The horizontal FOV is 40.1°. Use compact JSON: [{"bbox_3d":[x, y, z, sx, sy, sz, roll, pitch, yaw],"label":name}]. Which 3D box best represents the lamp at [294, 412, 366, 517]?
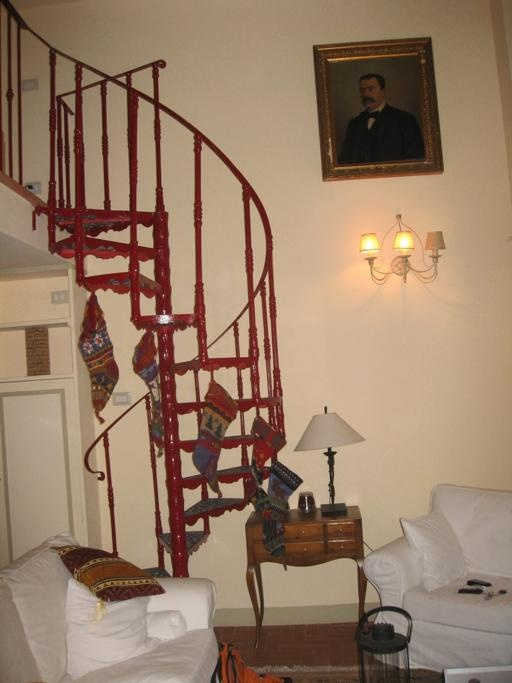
[{"bbox_3d":[0.444,0.706,4.222,0.388,0.611,0.463,-3,0,6],"label":"lamp"}]

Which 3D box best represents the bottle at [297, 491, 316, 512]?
[{"bbox_3d":[0.290,0.949,4.157,0.103,0.090,0.102,1,-2,20],"label":"bottle"}]

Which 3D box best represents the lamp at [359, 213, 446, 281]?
[{"bbox_3d":[0.925,-0.592,4.477,0.529,0.433,0.258,-3,4,3],"label":"lamp"}]

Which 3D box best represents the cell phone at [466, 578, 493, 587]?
[{"bbox_3d":[1.124,1.221,3.556,0.123,0.035,0.118,-3,0,21],"label":"cell phone"}]

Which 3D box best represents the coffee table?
[{"bbox_3d":[0.296,1.379,4.096,0.853,0.920,0.398,-1,-3,3],"label":"coffee table"}]

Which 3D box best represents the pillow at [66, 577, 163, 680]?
[{"bbox_3d":[-0.631,1.243,3.028,0.347,0.348,0.152,5,-20,-42],"label":"pillow"}]

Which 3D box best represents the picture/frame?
[{"bbox_3d":[0.793,-1.487,4.584,0.986,1.069,0.090,-2,1,0],"label":"picture/frame"}]
